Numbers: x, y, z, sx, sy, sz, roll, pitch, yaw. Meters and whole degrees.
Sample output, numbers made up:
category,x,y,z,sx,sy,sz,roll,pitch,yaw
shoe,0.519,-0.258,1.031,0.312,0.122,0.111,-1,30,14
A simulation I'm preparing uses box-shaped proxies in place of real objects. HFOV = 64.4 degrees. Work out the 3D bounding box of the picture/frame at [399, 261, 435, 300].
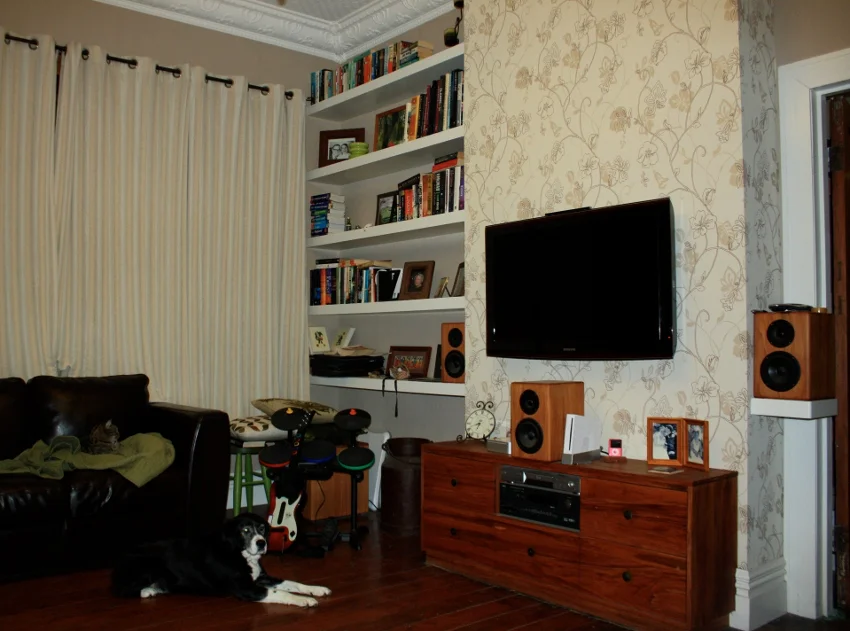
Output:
category,x,y,z,sx,sy,sz,roll,pitch,yaw
picture/frame,-0.050,-0.241,4.714,0.251,0.335,0.045,6,-15,44

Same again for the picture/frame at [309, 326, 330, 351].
category,x,y,z,sx,sy,sz,roll,pitch,yaw
picture/frame,-0.851,0.186,5.381,0.025,0.166,0.180,-22,-9,38

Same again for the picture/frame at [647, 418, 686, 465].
category,x,y,z,sx,sy,sz,roll,pitch,yaw
picture/frame,1.160,0.605,3.213,0.215,0.289,0.029,-3,-11,43

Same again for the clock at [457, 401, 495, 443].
category,x,y,z,sx,sy,sz,roll,pitch,yaw
clock,0.322,0.631,4.077,0.230,0.240,0.151,1,0,13

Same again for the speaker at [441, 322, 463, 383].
category,x,y,z,sx,sy,sz,roll,pitch,yaw
speaker,0.173,0.235,4.314,0.067,0.390,0.223,1,0,-36

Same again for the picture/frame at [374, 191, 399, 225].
category,x,y,z,sx,sy,sz,roll,pitch,yaw
picture/frame,-0.284,-0.788,4.970,0.062,0.230,0.253,11,3,-23

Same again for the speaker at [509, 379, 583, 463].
category,x,y,z,sx,sy,sz,roll,pitch,yaw
speaker,0.688,0.529,3.607,0.374,0.528,0.359,1,0,-44

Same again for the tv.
category,x,y,z,sx,sy,sz,roll,pitch,yaw
tv,0.852,-0.186,3.536,0.920,0.669,0.120,-2,0,43

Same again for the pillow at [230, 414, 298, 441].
category,x,y,z,sx,sy,sz,roll,pitch,yaw
pillow,-1.130,0.758,4.531,0.257,0.097,0.258,-5,8,-33

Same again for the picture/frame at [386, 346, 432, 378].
category,x,y,z,sx,sy,sz,roll,pitch,yaw
picture/frame,-0.137,0.324,4.903,0.198,0.229,0.425,1,1,-44

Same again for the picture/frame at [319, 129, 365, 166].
category,x,y,z,sx,sy,sz,roll,pitch,yaw
picture/frame,-0.642,-1.318,5.296,0.374,0.360,0.026,0,0,26

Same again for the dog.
category,x,y,z,sx,sy,sz,roll,pitch,yaw
dog,-1.026,1.136,3.425,0.872,0.360,0.501,1,-7,7
